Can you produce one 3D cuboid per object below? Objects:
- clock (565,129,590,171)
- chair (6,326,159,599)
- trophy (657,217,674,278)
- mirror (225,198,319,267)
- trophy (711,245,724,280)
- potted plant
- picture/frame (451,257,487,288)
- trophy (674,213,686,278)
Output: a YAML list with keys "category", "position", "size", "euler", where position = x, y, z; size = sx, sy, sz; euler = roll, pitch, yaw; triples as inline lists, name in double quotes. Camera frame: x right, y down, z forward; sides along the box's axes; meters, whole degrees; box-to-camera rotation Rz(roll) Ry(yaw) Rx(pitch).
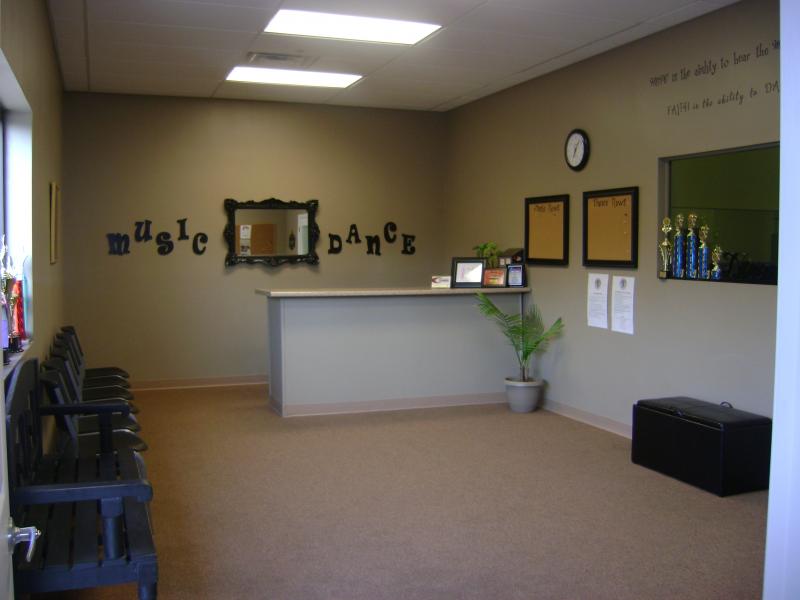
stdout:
- category: "clock"
  position: [1.729, -1.456, 5.599]
  size: [0.041, 0.447, 0.402]
  euler: [-1, 2, -17]
- category: "chair"
  position: [-1.550, 0.779, 2.819]
  size: [0.317, 0.495, 1.131]
  euler: [-1, 12, -17]
- category: "trophy"
  position: [2.224, -0.426, 4.848]
  size: [0.105, 0.498, 0.091]
  euler: [2, 4, 29]
- category: "mirror"
  position: [-1.677, -0.859, 7.306]
  size: [0.757, 0.684, 0.046]
  euler: [-1, 2, -19]
- category: "trophy"
  position: [2.465, -0.281, 4.503]
  size: [0.082, 0.265, 0.158]
  euler: [2, 5, 32]
- category: "potted plant"
  position: [1.275, 0.547, 6.149]
  size: [0.850, 1.232, 0.525]
  euler: [1, 4, 11]
- category: "picture/frame"
  position: [0.767, -0.283, 6.349]
  size: [0.278, 0.334, 0.021]
  euler: [0, -13, 6]
- category: "trophy"
  position: [2.308, -0.441, 4.772]
  size: [0.083, 0.529, 0.137]
  euler: [1, 4, 24]
